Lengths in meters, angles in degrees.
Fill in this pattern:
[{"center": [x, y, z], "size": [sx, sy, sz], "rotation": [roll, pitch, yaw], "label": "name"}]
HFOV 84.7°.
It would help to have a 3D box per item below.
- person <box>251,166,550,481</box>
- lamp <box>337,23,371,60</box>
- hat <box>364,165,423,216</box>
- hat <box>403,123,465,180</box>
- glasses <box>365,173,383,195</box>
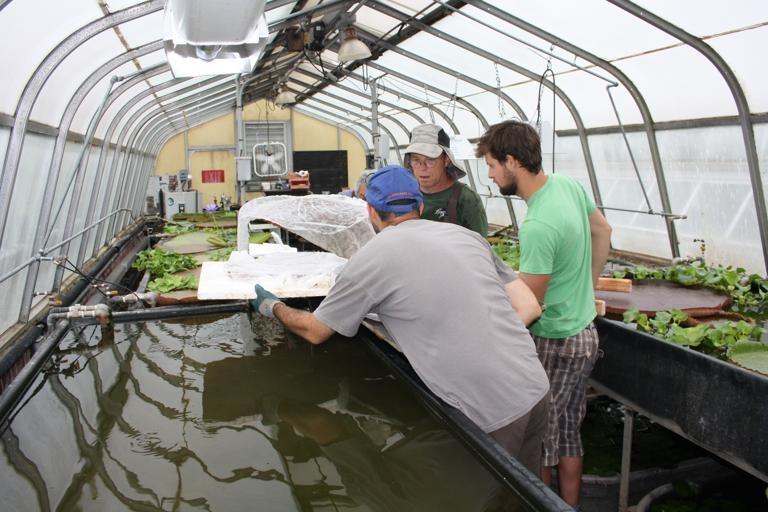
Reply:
[{"center": [0.208, 0.438, 1.943], "size": [1.115, 1.209, 0.282], "rotation": [2, 4, 5], "label": "person"}, {"center": [-0.555, -3.697, 7.198], "size": [0.606, 0.559, 0.607], "rotation": [-12, 19, -4], "label": "lamp"}, {"center": [0.043, -0.307, 1.969], "size": [0.203, 0.124, 0.271], "rotation": [-3, 24, -8], "label": "hat"}, {"center": [0.395, -0.770, 3.193], "size": [0.347, 0.247, 0.454], "rotation": [6, -5, 15], "label": "hat"}, {"center": [-0.036, -0.364, 2.009], "size": [0.074, 0.105, 0.035], "rotation": [0, -35, 27], "label": "glasses"}]
